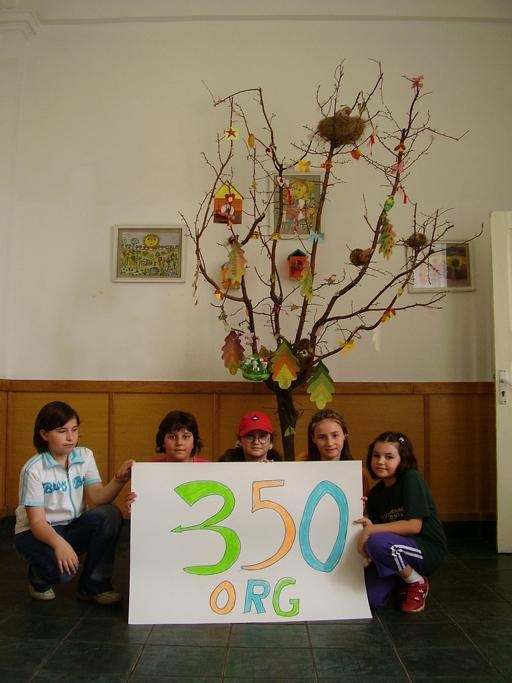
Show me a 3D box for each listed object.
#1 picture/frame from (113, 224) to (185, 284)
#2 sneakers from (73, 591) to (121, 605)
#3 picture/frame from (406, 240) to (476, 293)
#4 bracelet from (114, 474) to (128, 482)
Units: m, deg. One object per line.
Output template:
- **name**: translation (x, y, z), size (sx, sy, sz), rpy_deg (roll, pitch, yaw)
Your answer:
- **picture/frame**: translation (-0.568, -0.460, 3.043), size (0.324, 0.263, 0.026), rpy_deg (1, -3, -2)
- **sneakers**: translation (-0.528, 0.853, 1.867), size (0.139, 0.057, 0.051), rpy_deg (-3, -10, 4)
- **picture/frame**: translation (0.987, -0.386, 2.978), size (0.300, 0.246, 0.023), rpy_deg (1, -7, 0)
- **bracelet**: translation (-0.445, 0.454, 1.869), size (0.027, 0.014, 0.035), rpy_deg (2, -5, 5)
